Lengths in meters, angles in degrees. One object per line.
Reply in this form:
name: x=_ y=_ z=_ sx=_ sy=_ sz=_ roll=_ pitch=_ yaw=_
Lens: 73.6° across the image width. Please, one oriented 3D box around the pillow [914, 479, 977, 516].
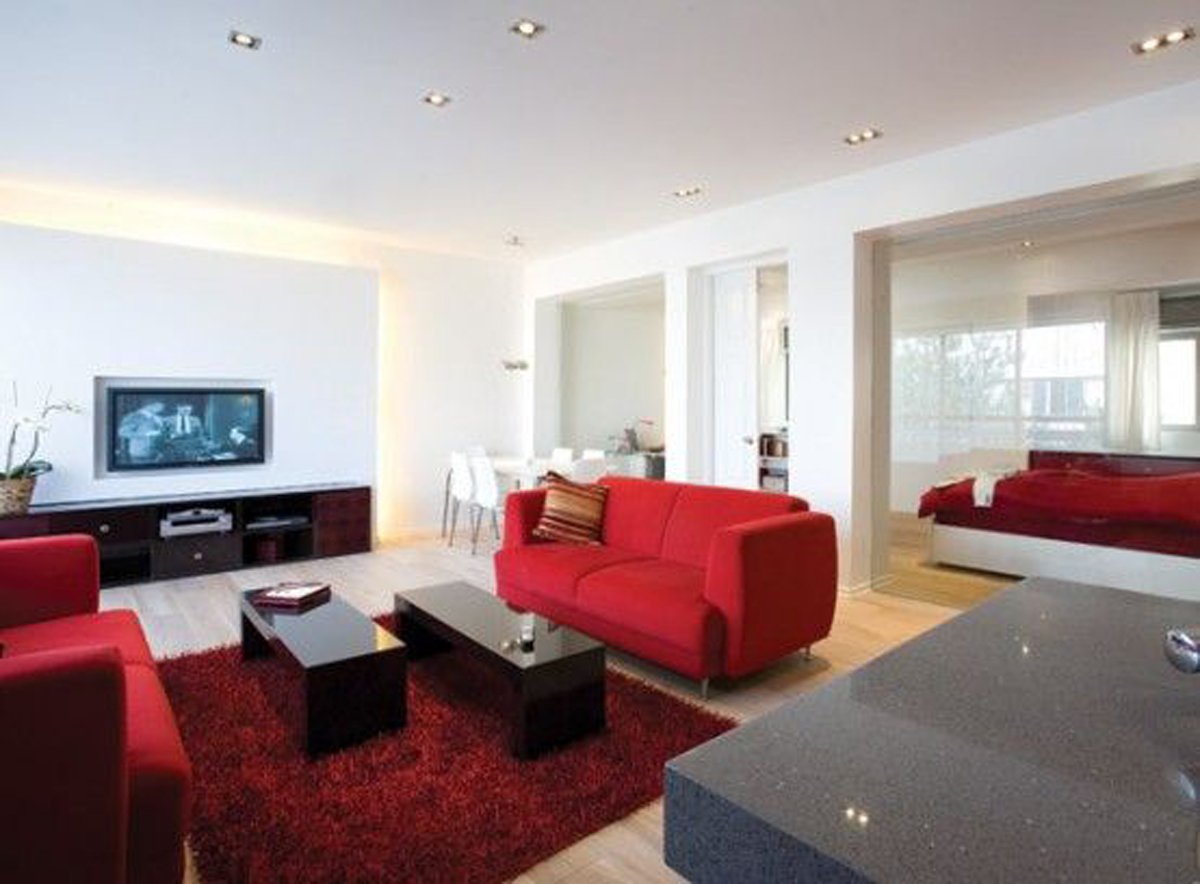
pillow: x=2.618 y=0.419 z=6.020 sx=0.294 sy=0.096 sz=0.290 roll=-8 pitch=9 yaw=-28
